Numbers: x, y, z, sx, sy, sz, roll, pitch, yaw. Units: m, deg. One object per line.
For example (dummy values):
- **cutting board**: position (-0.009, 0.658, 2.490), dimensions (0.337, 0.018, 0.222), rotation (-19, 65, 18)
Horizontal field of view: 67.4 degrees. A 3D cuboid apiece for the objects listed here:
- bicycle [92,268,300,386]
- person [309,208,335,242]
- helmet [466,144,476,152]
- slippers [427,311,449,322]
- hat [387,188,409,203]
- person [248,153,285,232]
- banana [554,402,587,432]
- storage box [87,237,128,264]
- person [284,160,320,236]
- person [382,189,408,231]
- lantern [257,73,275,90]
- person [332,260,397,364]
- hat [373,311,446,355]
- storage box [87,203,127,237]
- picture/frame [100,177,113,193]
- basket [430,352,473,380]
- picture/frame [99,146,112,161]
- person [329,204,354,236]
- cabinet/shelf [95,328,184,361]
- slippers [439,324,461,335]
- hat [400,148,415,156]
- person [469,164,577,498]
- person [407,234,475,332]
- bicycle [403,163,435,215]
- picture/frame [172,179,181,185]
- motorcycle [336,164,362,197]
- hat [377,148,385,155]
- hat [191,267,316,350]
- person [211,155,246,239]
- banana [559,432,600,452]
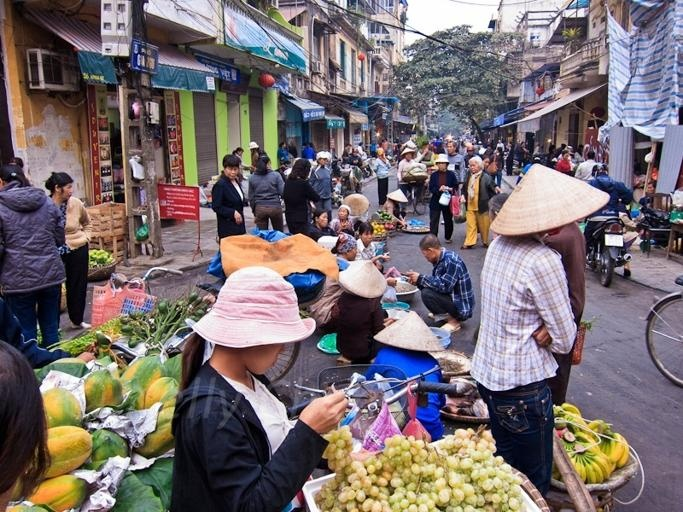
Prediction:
- **bicycle**: position (-1.297, 0.691, 4.840), dimensions (0.933, 1.047, 1.578), rotation (3, 6, 41)
- **person**: position (-0.379, -0.514, 8.977), dimensions (0.456, 0.628, 0.767), rotation (0, 15, 6)
- **helmet**: position (3.689, -3.060, 14.569), dimensions (0.306, 0.168, 0.444), rotation (0, 6, 10)
- **slippers**: position (1.320, 0.814, 6.837), dimensions (0.120, 0.089, 0.168), rotation (5, 9, 35)
- **hat**: position (1.335, -1.528, 12.772), dimensions (0.421, 0.207, 0.433), rotation (20, 5, 43)
- **person**: position (-1.478, -1.197, 10.062), dimensions (0.685, 1.465, 0.803), rotation (-3, 13, -11)
- **banana**: position (1.662, 1.183, 3.735), dimensions (0.242, 0.099, 0.191), rotation (4, 26, -4)
- **storage box**: position (-4.366, -0.195, 9.584), dimensions (0.395, 0.642, 0.752), rotation (2, 6, 23)
- **person**: position (-0.746, -1.121, 9.596), dimensions (0.571, 1.387, 0.737), rotation (-9, 15, -33)
- **person**: position (1.352, -1.148, 13.023), dimensions (0.615, 1.087, 0.712), rotation (4, 12, 13)
- **lantern**: position (-2.829, -6.633, 19.465), dimensions (0.667, 0.867, 0.747), rotation (-1, 5, 0)
- **person**: position (0.198, 0.599, 5.308), dimensions (0.507, 1.142, 0.661), rotation (15, 38, 22)
- **hat**: position (0.532, 0.606, 3.949), dimensions (0.366, 0.185, 0.355), rotation (8, 0, 18)
- **storage box**: position (-4.236, -0.630, 9.215), dimensions (0.563, 0.462, 0.592), rotation (7, 19, 26)
- **picture/frame**: position (-5.605, -1.682, 12.090), dimensions (0.031, 0.363, 0.340), rotation (5, 10, 23)
- **basket**: position (1.121, 1.078, 5.179), dimensions (0.414, 0.124, 0.417), rotation (-16, 22, -40)
- **picture/frame**: position (-5.614, -2.425, 12.091), dimensions (0.061, 0.284, 0.270), rotation (4, 4, 31)
- **person**: position (0.017, -0.661, 9.605), dimensions (0.533, 0.849, 0.501), rotation (-3, 8, -6)
- **cabinet/shelf**: position (-1.587, 0.749, 4.322), dimensions (0.335, 0.175, 0.454), rotation (15, 19, 37)
- **slippers**: position (1.401, 0.939, 6.624), dimensions (0.341, 0.143, 0.123), rotation (4, -4, -43)
- **hat**: position (1.935, -3.071, 15.075), dimensions (0.332, 0.214, 0.609), rotation (3, 14, 12)
- **person**: position (1.225, 0.720, 3.323), dimensions (0.615, 2.335, 0.674), rotation (-4, 14, -6)
- **person**: position (1.346, 0.329, 6.776), dimensions (0.704, 1.282, 0.744), rotation (2, 10, 37)
- **bicycle**: position (2.460, -2.177, 15.947), dimensions (0.815, 1.178, 1.885), rotation (-2, 7, 7)
- **picture/frame**: position (-4.749, -2.143, 14.728), dimensions (0.249, 0.171, 0.815), rotation (-3, 14, -13)
- **motorcycle**: position (0.326, -3.008, 20.150), dimensions (0.760, 1.094, 1.683), rotation (-3, 4, 11)
- **hat**: position (1.186, -3.151, 15.441), dimensions (0.223, 0.248, 0.199), rotation (-2, 50, 9)
- **hat**: position (-0.410, 0.239, 2.400), dimensions (0.629, 0.360, 0.651), rotation (1, -8, 21)
- **person**: position (-1.941, -0.974, 8.678), dimensions (0.542, 1.453, 0.750), rotation (-3, 13, -12)
- **banana**: position (1.623, 1.274, 3.480), dimensions (0.147, 0.065, 0.157), rotation (-6, 22, -5)
